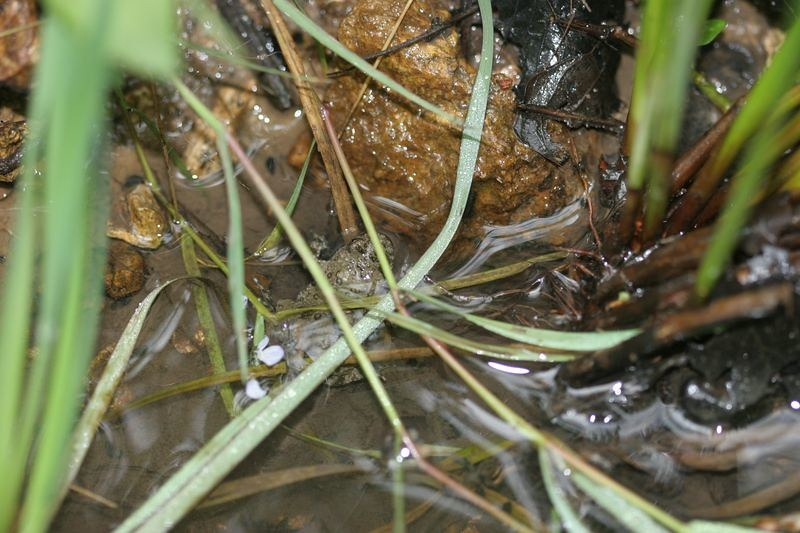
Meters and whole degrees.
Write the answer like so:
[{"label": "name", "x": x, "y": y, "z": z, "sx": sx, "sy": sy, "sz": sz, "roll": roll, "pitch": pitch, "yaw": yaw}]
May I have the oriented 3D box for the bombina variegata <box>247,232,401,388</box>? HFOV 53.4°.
[{"label": "bombina variegata", "x": -0.252, "y": 0.121, "z": 2.824, "sx": 0.492, "sy": 0.429, "sz": 0.179, "roll": 1, "pitch": 68, "yaw": 5}]
